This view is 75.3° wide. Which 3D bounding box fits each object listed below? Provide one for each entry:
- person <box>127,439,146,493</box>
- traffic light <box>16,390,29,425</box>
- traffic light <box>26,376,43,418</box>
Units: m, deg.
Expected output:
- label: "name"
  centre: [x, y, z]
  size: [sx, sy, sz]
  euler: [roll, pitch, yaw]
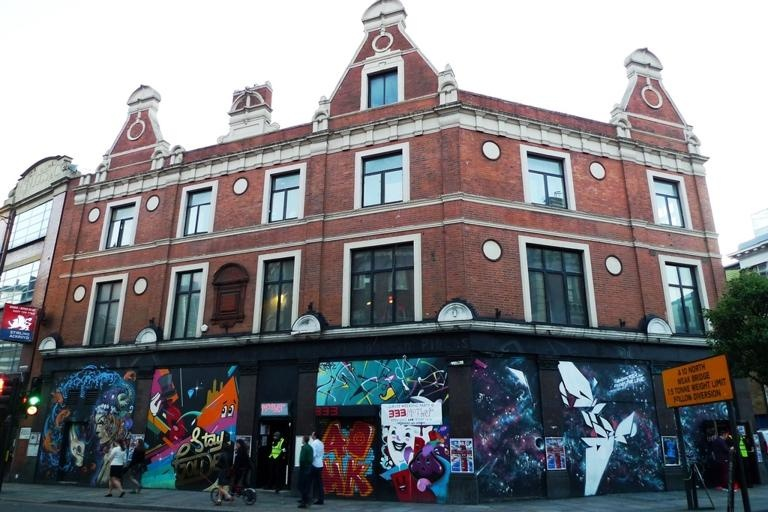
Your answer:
- label: "person"
  centre: [-10.478, 8.900, 21.191]
  size: [0.678, 2.082, 1.543]
  euler: [9, -26, -23]
- label: "traffic light"
  centre: [-13.535, 5.594, 18.664]
  size: [0.302, 0.873, 1.047]
  euler: [12, -27, -28]
- label: "traffic light"
  centre: [-13.242, 5.252, 18.819]
  size: [0.434, 1.337, 0.867]
  euler: [14, -28, -31]
